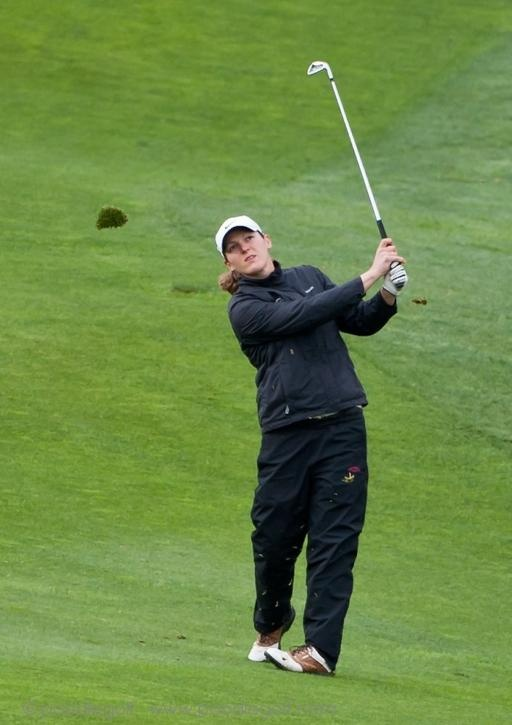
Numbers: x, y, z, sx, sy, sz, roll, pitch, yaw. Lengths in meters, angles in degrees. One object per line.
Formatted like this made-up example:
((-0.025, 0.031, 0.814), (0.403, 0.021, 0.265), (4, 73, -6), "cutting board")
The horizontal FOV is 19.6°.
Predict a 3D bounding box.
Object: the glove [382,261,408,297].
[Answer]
((0.519, -0.320, 5.719), (0.096, 0.116, 0.045), (1, 8, -5), "glove")

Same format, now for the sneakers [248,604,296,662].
((0.032, 1.089, 5.884), (0.098, 0.127, 0.281), (12, 46, 33), "sneakers")

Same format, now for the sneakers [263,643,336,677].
((0.148, 1.117, 5.606), (0.284, 0.116, 0.099), (17, -22, 1), "sneakers")

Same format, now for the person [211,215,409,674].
((0.179, 0.321, 5.749), (0.599, 1.699, 0.755), (1, 11, -19), "person")
